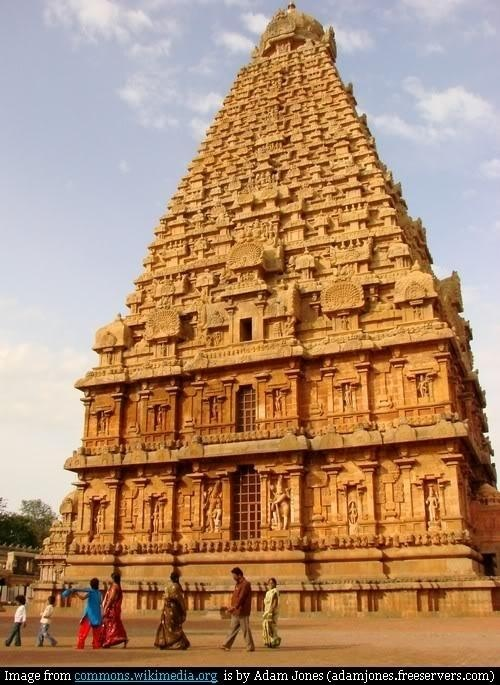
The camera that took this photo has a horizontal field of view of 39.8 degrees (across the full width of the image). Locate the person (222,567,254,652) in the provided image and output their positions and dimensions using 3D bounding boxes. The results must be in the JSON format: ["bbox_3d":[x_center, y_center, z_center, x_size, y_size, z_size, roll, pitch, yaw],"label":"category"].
[{"bbox_3d":[-0.188,4.025,10.426,0.472,1.153,0.902,-2,-18,-2],"label":"person"}]

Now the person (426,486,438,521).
[{"bbox_3d":[4.924,4.364,18.572,0.250,0.930,0.264,7,-21,-25],"label":"person"}]

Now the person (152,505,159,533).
[{"bbox_3d":[-3.079,5.778,22.520,0.114,0.860,0.335,13,-24,-38],"label":"person"}]

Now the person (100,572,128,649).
[{"bbox_3d":[-2.129,4.237,10.846,0.384,1.090,0.428,1,-19,-11],"label":"person"}]

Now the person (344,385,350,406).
[{"bbox_3d":[2.954,1.603,20.856,0.251,0.701,0.080,-13,-21,28],"label":"person"}]

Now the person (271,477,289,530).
[{"bbox_3d":[0.898,4.761,20.433,0.635,1.566,0.302,-6,-19,10],"label":"person"}]

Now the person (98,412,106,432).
[{"bbox_3d":[-5.401,2.894,25.082,0.505,0.794,0.131,-16,-23,35],"label":"person"}]

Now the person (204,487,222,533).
[{"bbox_3d":[-1.148,5.186,21.550,0.691,1.461,0.261,-17,-23,37],"label":"person"}]

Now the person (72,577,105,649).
[{"bbox_3d":[-2.523,4.297,10.898,0.386,1.013,0.722,2,-18,-12],"label":"person"}]
